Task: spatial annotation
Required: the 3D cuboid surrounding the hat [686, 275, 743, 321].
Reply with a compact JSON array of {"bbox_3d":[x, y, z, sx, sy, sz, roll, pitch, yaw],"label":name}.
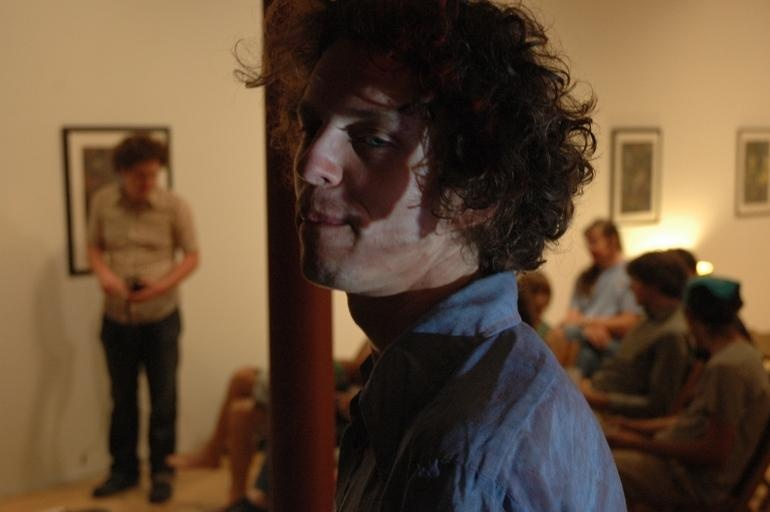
[{"bbox_3d":[0.679,0.088,1.683,0.065,0.081,0.087,2,3,1],"label":"hat"}]
